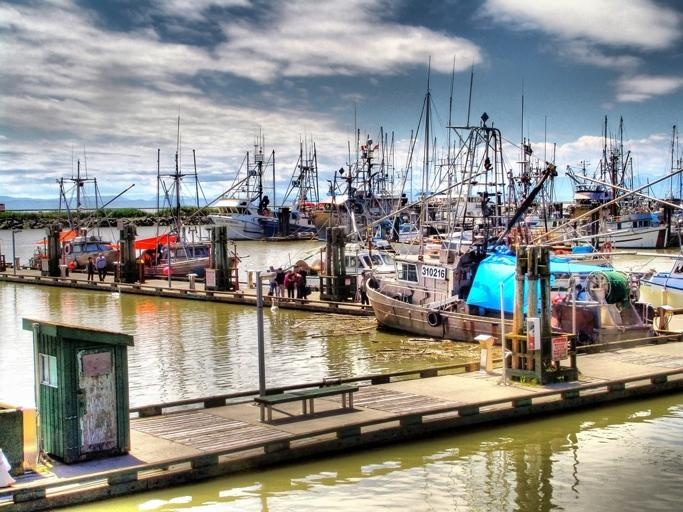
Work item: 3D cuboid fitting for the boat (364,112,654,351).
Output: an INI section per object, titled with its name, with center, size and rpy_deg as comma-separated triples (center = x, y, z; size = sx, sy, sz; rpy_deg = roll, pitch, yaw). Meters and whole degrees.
[boat]
center = 5.764, -1.005, 25.915
size = 5.507, 7.392, 9.551
rpy_deg = -6, 8, -34
